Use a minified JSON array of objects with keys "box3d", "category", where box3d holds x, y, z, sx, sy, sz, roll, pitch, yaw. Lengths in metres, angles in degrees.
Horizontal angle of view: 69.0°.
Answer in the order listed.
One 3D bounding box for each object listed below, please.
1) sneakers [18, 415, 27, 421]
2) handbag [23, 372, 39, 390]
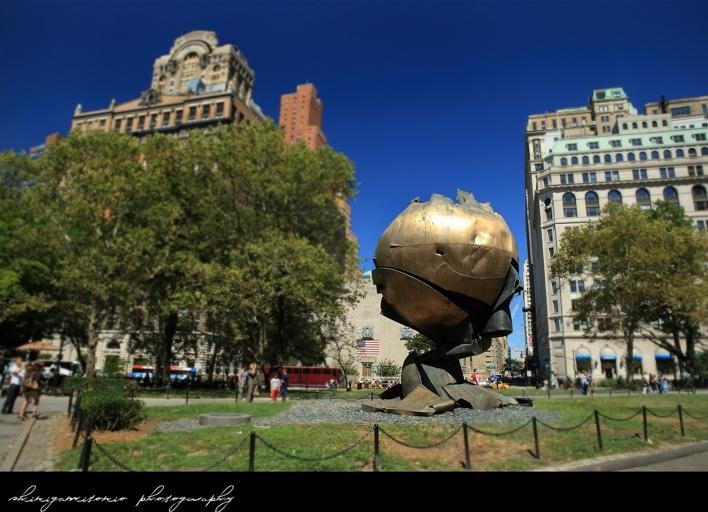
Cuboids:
[{"box3d":[-12.963,6.299,20.169,0.190,0.162,0.552,5,-15,-17],"category":"sneakers"},{"box3d":[-12.825,4.924,20.431,0.530,0.700,0.408,5,-38,-49],"category":"handbag"}]
